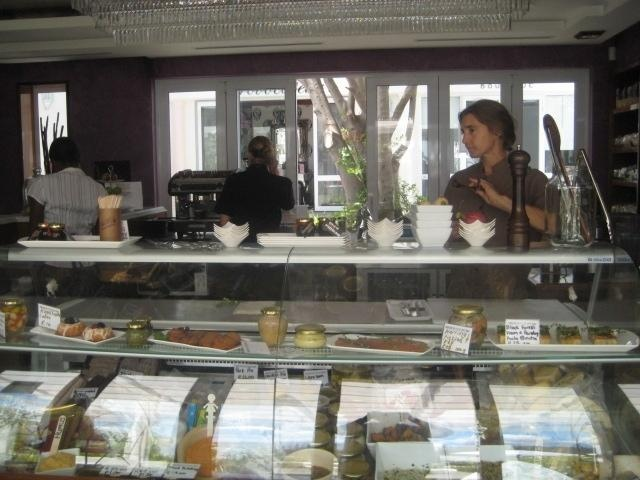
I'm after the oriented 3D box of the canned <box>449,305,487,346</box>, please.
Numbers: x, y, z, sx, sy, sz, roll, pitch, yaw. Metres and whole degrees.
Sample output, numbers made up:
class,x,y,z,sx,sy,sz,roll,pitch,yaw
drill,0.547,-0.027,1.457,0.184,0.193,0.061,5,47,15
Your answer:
class,x,y,z,sx,sy,sz,roll,pitch,yaw
canned,0.572,0.318,2.150,0.161,0.152,0.070,-4,10,-13

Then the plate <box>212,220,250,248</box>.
class,x,y,z,sx,sy,sz,roll,pitch,yaw
plate,-0.376,-0.028,2.466,0.115,0.077,0.114,0,5,-4

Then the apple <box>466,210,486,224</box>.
class,x,y,z,sx,sy,sz,roll,pitch,yaw
apple,0.646,-0.104,2.393,0.057,0.051,0.056,3,14,8

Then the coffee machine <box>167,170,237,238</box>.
class,x,y,z,sx,sy,sz,roll,pitch,yaw
coffee machine,-1.137,-0.366,5.605,0.665,0.629,0.438,2,8,-2

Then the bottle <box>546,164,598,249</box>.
class,x,y,z,sx,sy,sz,roll,pitch,yaw
bottle,1.045,-0.156,2.395,0.190,0.319,0.188,-5,9,1

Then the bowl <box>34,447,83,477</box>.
class,x,y,z,sx,sy,sz,roll,pitch,yaw
bowl,-1.033,0.860,2.220,0.122,0.043,0.096,4,6,-4

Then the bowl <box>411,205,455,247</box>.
class,x,y,z,sx,sy,sz,roll,pitch,yaw
bowl,0.462,-0.061,2.354,0.171,0.190,0.162,0,4,0

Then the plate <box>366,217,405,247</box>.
class,x,y,z,sx,sy,sz,roll,pitch,yaw
plate,0.280,-0.037,2.431,0.123,0.082,0.123,0,1,4

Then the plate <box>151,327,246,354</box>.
class,x,y,z,sx,sy,sz,roll,pitch,yaw
plate,-0.477,0.378,2.208,0.229,0.037,0.137,3,7,13

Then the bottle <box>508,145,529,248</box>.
class,x,y,z,sx,sy,sz,roll,pitch,yaw
bottle,0.831,-0.179,2.387,0.083,0.390,0.177,1,10,18

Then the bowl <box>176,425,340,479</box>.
class,x,y,z,sx,sy,sz,roll,pitch,yaw
bowl,-0.270,0.845,2.191,0.431,0.085,0.263,3,5,3

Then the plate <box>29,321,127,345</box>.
class,x,y,z,sx,sy,sz,roll,pitch,yaw
plate,-0.986,0.378,2.254,0.219,0.023,0.136,4,4,8

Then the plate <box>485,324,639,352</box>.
class,x,y,z,sx,sy,sz,roll,pitch,yaw
plate,0.961,0.370,2.131,0.345,0.037,0.197,1,8,6

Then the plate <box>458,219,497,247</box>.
class,x,y,z,sx,sy,sz,roll,pitch,yaw
plate,0.652,-0.032,2.380,0.116,0.081,0.116,-1,2,5

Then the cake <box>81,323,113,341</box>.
class,x,y,z,sx,sy,sz,roll,pitch,yaw
cake,-0.866,0.360,2.218,0.078,0.044,0.078,2,1,8

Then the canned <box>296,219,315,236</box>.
class,x,y,z,sx,sy,sz,roll,pitch,yaw
canned,-0.063,-0.053,2.439,0.071,0.069,0.069,0,-6,-5

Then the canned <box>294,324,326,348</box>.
class,x,y,z,sx,sy,sz,roll,pitch,yaw
canned,-0.038,0.365,2.160,0.092,0.064,0.091,-1,4,-28

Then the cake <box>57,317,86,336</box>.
class,x,y,z,sx,sy,sz,roll,pitch,yaw
cake,-0.973,0.330,2.247,0.080,0.049,0.080,1,0,-7
